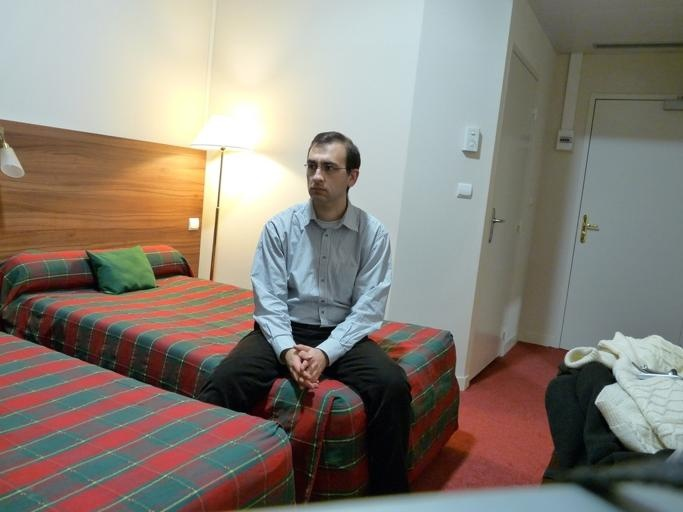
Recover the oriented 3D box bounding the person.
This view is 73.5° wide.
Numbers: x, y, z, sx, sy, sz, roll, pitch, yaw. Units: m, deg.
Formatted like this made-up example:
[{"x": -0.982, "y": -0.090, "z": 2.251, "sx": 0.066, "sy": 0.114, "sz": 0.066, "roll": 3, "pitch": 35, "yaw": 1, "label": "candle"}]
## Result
[{"x": -0.046, "y": 0.179, "z": 1.954, "sx": 0.781, "sy": 1.433, "sz": 0.751, "roll": 5, "pitch": 10, "yaw": 10, "label": "person"}]
